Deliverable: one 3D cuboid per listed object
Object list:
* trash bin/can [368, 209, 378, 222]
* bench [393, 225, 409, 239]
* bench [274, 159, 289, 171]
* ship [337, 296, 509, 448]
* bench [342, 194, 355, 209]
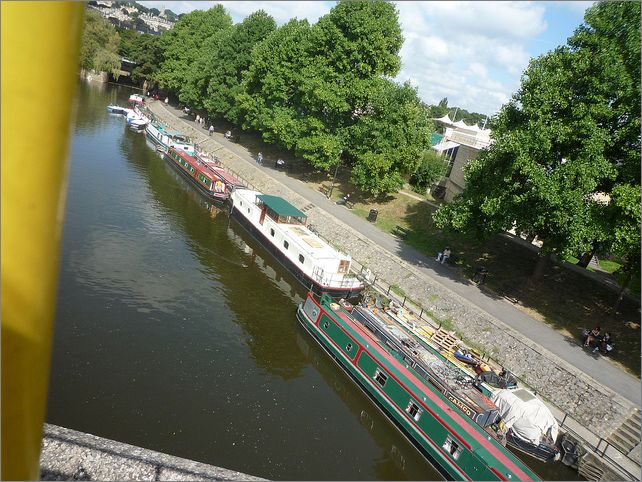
[{"bbox_3d":[5.016,-2.498,46.048,0.621,1.123,0.815,1,19,-41],"label":"trash bin/can"},{"bbox_3d":[7.361,-0.889,43.754,0.961,0.730,1.964,4,19,-36],"label":"bench"},{"bbox_3d":[-4.758,-9.818,61.056,1.794,1.268,3.368,13,15,-6],"label":"bench"},{"bbox_3d":[5.442,6.797,25.207,2.579,3.410,12.880,11,28,-48],"label":"ship"},{"bbox_3d":[2.946,-4.220,50.427,1.274,1.395,0.355,6,-17,-7],"label":"bench"}]
